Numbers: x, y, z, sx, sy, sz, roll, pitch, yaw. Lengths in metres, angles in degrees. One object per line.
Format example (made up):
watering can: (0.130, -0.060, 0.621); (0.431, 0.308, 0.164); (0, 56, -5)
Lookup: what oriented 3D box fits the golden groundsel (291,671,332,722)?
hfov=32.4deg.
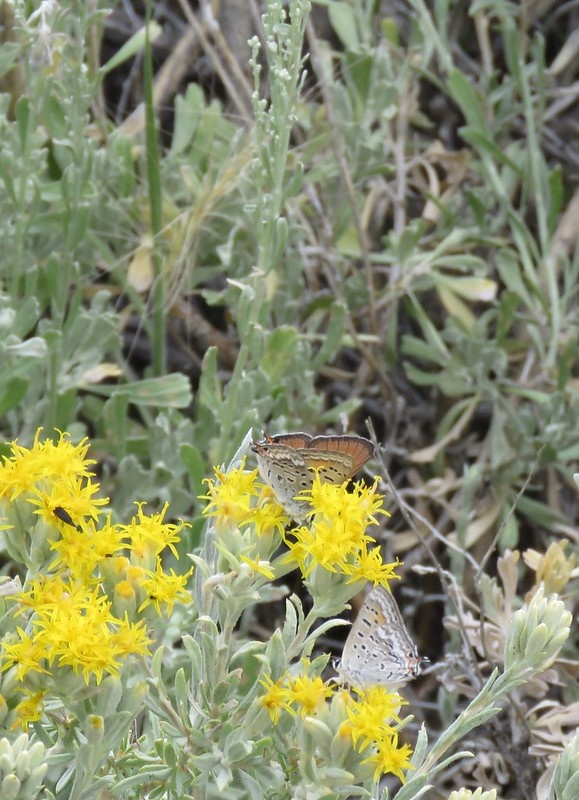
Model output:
golden groundsel: (0.019, 0.264, 0.894); (0.033, 0.037, 0.034); (24, 64, 3)

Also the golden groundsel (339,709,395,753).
golden groundsel: (0.069, 0.294, 0.882); (0.047, 0.055, 0.033); (27, 69, 8)

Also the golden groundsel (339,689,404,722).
golden groundsel: (0.069, 0.274, 0.888); (0.036, 0.037, 0.020); (19, 63, 43)

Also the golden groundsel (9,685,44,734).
golden groundsel: (-0.239, 0.289, 0.925); (0.014, 0.036, 0.037); (21, 43, -34)

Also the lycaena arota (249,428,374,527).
lycaena arota: (0.028, 0.063, 0.938); (0.063, 0.101, 0.081); (-29, 105, -44)

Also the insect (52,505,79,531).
insect: (-0.203, 0.107, 0.914); (0.008, 0.028, 0.013); (-21, 29, 21)
